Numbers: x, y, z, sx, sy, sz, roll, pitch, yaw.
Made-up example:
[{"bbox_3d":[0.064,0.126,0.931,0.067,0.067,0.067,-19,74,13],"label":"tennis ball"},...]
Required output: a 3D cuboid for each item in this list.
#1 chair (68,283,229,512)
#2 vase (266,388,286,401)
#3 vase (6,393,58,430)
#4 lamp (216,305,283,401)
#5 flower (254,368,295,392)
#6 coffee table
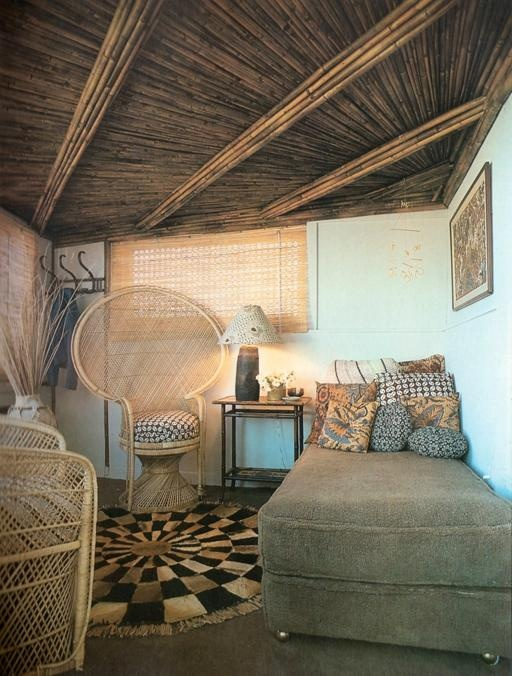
[{"bbox_3d":[-0.697,0.331,3.395,0.820,1.363,0.821,-1,-1,19],"label":"chair"},{"bbox_3d":[0.125,0.350,3.211,0.087,0.052,0.087,-1,-5,22],"label":"vase"},{"bbox_3d":[-1.208,0.395,2.768,0.231,0.187,0.221,0,-1,-24],"label":"vase"},{"bbox_3d":[-0.046,0.090,3.307,0.389,0.570,0.374,0,2,-10],"label":"lamp"},{"bbox_3d":[0.121,0.270,3.297,0.178,0.078,0.177,-5,2,8],"label":"flower"},{"bbox_3d":[0.037,0.684,3.257,0.546,0.574,0.377,0,-6,4],"label":"coffee table"}]
